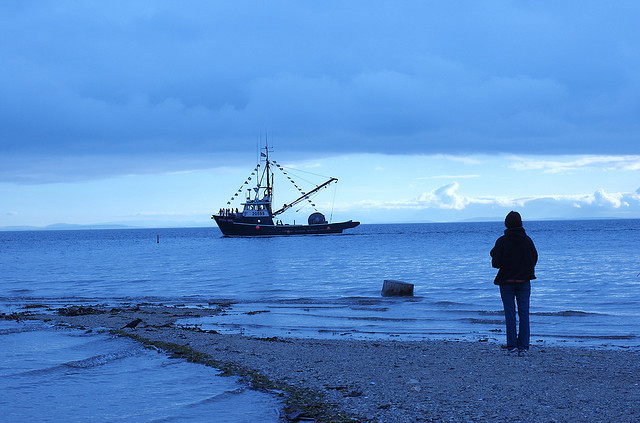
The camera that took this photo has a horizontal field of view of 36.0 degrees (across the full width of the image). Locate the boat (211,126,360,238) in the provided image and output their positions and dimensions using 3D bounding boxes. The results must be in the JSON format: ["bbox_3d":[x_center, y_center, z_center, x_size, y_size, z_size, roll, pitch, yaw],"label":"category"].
[{"bbox_3d":[-3.927,-1.301,122.579,8.224,10.015,21.987,3,5,36],"label":"boat"}]
